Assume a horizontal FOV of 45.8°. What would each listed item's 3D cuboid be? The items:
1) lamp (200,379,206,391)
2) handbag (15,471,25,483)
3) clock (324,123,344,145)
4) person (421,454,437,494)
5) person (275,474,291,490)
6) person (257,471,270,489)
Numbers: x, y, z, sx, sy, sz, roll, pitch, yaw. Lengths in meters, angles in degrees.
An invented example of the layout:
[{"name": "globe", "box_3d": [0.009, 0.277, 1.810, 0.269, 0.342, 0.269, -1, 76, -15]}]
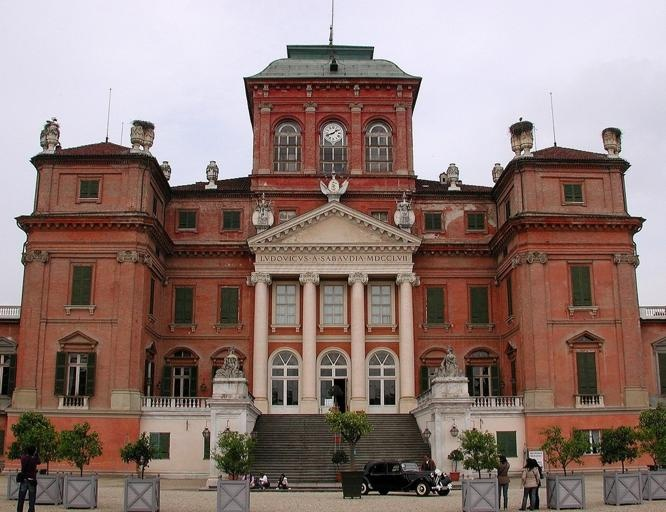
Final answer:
[{"name": "lamp", "box_3d": [-8.730, 8.660, 53.276, 0.444, 0.838, 0.211, 3, -15, -12]}, {"name": "handbag", "box_3d": [-11.053, 7.780, 27.855, 0.160, 0.355, 0.848, 7, -18, -25]}, {"name": "clock", "box_3d": [0.048, -9.044, 59.090, 1.290, 1.497, 1.452, -2, -4, 1]}, {"name": "person", "box_3d": [4.882, 11.064, 40.050, 1.038, 2.223, 0.723, -1, -2, 3]}, {"name": "person", "box_3d": [-2.610, 11.889, 41.486, 0.869, 0.933, 0.677, -1, -11, 1]}, {"name": "person", "box_3d": [-3.654, 11.863, 41.630, 0.552, 0.905, 0.669, -2, -39, -1]}]
